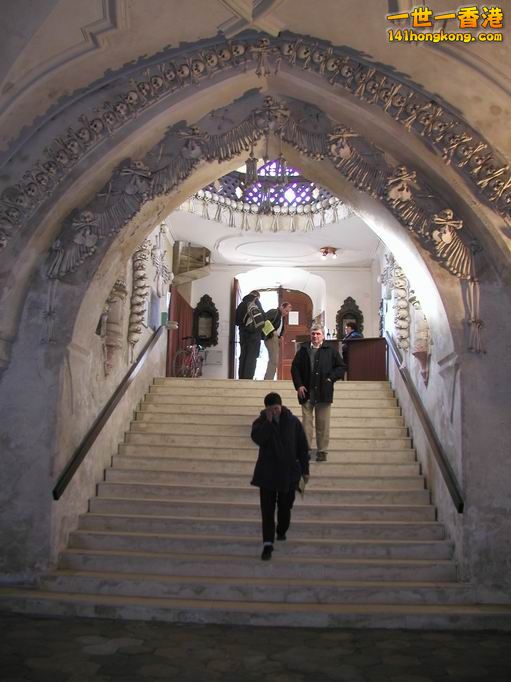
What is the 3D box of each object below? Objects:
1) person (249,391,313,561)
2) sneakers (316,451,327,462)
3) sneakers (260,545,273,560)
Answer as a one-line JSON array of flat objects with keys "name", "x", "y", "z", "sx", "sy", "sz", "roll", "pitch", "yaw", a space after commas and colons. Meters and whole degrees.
[{"name": "person", "x": 0.184, "y": 1.041, "z": 4.257, "sx": 0.351, "sy": 1.251, "sz": 0.427, "roll": -10, "pitch": -19, "yaw": 38}, {"name": "sneakers", "x": 0.682, "y": 1.175, "z": 5.594, "sx": 0.063, "sy": 0.083, "sz": 0.124, "roll": -1, "pitch": -20, "yaw": 6}, {"name": "sneakers", "x": 0.084, "y": 1.586, "z": 4.131, "sx": 0.081, "sy": 0.129, "sz": 0.147, "roll": 1, "pitch": -14, "yaw": 1}]
